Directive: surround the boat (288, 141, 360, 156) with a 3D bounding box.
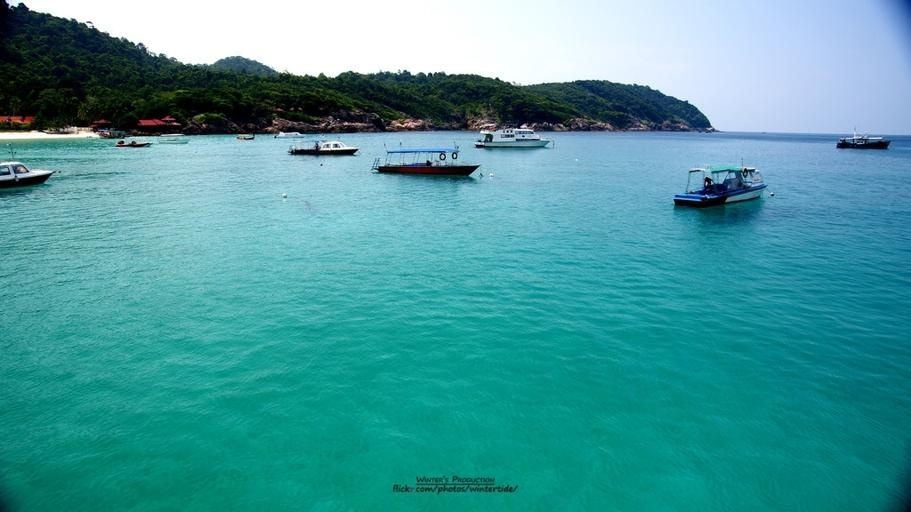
[{"bbox_3d":[-30.440,-24.654,125.194,13.714,3.112,7.889,9,20,27],"label":"boat"}]

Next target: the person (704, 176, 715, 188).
[{"bbox_3d":[31.183,-9.016,66.882,0.941,1.070,1.281,5,20,14],"label":"person"}]
